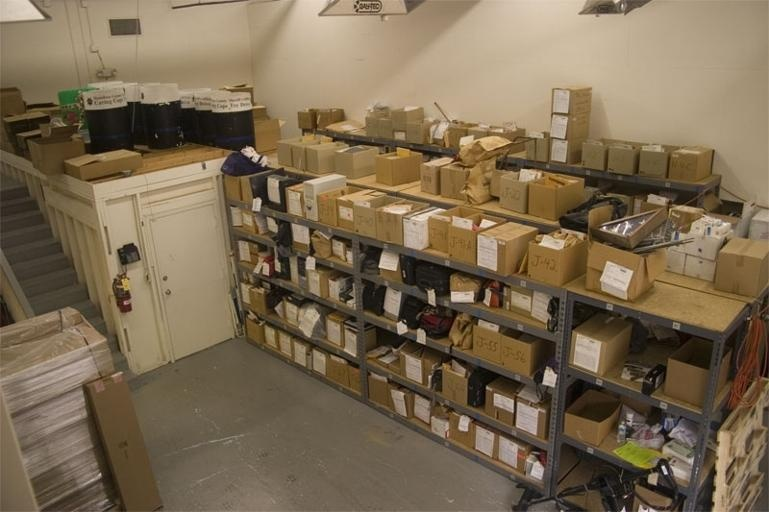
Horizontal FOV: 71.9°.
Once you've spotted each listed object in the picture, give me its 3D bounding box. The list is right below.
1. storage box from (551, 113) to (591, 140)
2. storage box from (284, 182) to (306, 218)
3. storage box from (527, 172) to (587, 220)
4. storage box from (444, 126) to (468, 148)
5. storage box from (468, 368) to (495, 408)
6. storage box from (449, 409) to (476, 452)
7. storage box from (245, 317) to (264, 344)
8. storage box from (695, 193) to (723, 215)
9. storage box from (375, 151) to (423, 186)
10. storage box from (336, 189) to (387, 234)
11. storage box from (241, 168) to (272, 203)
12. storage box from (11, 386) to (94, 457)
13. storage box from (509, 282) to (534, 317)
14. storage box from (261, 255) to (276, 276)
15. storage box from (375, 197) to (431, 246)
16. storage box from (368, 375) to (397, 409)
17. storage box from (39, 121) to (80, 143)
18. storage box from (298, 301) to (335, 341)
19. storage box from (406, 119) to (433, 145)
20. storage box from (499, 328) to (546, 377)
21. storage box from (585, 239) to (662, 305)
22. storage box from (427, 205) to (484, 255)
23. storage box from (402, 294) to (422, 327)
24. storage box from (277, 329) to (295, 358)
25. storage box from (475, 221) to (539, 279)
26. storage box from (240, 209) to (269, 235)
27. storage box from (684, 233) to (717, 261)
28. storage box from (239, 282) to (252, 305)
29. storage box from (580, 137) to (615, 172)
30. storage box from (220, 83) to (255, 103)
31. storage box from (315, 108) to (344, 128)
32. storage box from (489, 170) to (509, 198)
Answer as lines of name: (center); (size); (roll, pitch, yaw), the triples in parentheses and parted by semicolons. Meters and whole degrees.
storage box: (2.154, -1.463, 6.101); (0.338, 0.221, 0.347); (13, 26, 36)
storage box: (-0.997, -0.618, 5.921); (0.235, 0.306, 0.316); (11, 26, 33)
storage box: (1.602, -0.568, 4.909); (0.473, 0.289, 0.476); (16, 33, 39)
storage box: (0.912, -1.505, 6.729); (0.288, 0.266, 0.257); (3, 23, 5)
storage box: (0.923, 1.278, 5.062); (0.218, 0.374, 0.378); (7, 11, 16)
storage box: (0.771, 1.719, 5.243); (0.290, 0.337, 0.096); (14, 27, 29)
storage box: (-1.681, 0.960, 6.867); (0.182, 0.313, 0.325); (-18, 20, -36)
storage box: (3.406, -0.563, 5.561); (0.251, 0.157, 0.146); (-16, 28, -33)
storage box: (0.202, -1.038, 5.993); (0.526, 0.361, 0.361); (-23, 35, -38)
storage box: (-0.223, -0.514, 5.537); (0.464, 0.294, 0.475); (16, 30, 34)
storage box: (-1.522, -0.832, 6.279); (0.195, 0.296, 0.362); (14, 26, 34)
storage box: (-2.775, 1.314, 4.402); (0.806, 0.364, 0.178); (-23, 17, -26)
storage box: (1.222, 0.381, 4.683); (0.234, 0.222, 0.169); (22, 59, 7)
storage box: (-1.418, 0.124, 6.482); (0.145, 0.204, 0.178); (13, 29, 25)
storage box: (0.170, -0.410, 5.326); (0.473, 0.283, 0.467); (20, 42, 32)
storage box: (-0.011, 1.465, 5.736); (0.260, 0.332, 0.357); (-15, 22, -43)
storage box: (-3.851, -1.468, 6.235); (0.334, 0.107, 0.244); (16, 24, 38)
storage box: (-0.806, 0.766, 6.279); (0.332, 0.408, 0.148); (20, 9, 26)
storage box: (0.456, -1.647, 6.986); (0.277, 0.303, 0.507); (16, 31, 30)
storage box: (1.228, 0.858, 4.871); (0.398, 0.368, 0.397); (18, 30, 40)
storage box: (1.845, 0.125, 4.174); (0.516, 0.364, 0.529); (26, 37, 32)
storage box: (0.714, -0.299, 5.018); (0.479, 0.283, 0.479); (11, 34, 41)
storage box: (0.267, 0.547, 5.364); (0.205, 0.277, 0.272); (15, 8, 41)
storage box: (-1.211, 1.074, 6.555); (0.182, 0.285, 0.311); (-17, 26, -36)
storage box: (1.102, -0.072, 4.757); (0.476, 0.342, 0.355); (-19, 30, -39)
storage box: (-1.597, -0.434, 6.564); (0.405, 0.296, 0.311); (19, 26, 38)
storage box: (2.619, -0.077, 4.351); (0.247, 0.153, 0.254); (20, 34, 38)
storage box: (-1.807, 0.478, 6.893); (0.188, 0.237, 0.134); (33, 51, 30)
storage box: (2.363, -1.161, 5.974); (0.353, 0.329, 0.361); (14, 29, 28)
storage box: (-2.362, -2.625, 8.719); (0.435, 0.315, 1.457); (-5, 23, -12)
storage box: (-0.845, -2.092, 8.060); (0.189, 0.215, 0.351); (16, 31, 36)
storage box: (1.127, -0.707, 5.182); (0.242, 0.232, 0.177); (-11, 27, -35)
